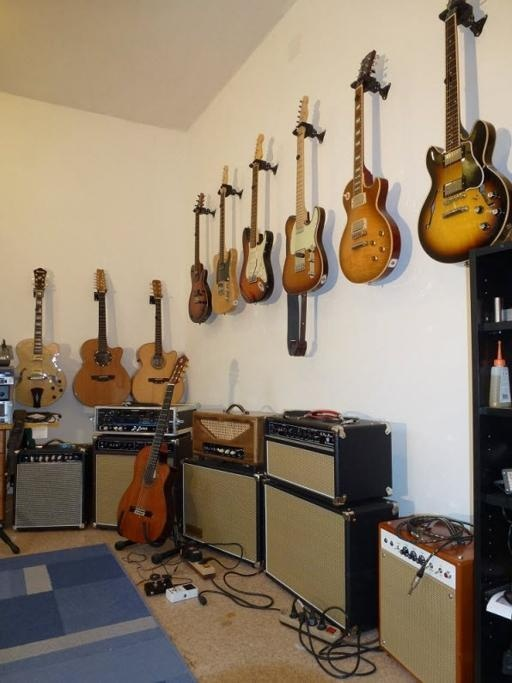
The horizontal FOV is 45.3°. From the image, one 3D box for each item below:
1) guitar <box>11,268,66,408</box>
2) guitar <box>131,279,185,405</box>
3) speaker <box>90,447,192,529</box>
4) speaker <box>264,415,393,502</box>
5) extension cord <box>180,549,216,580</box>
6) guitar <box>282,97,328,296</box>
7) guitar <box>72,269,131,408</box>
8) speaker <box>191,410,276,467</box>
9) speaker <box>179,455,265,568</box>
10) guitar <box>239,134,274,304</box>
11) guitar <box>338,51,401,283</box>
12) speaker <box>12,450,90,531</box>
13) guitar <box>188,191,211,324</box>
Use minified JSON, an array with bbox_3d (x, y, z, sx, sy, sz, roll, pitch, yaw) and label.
[{"bbox_3d":[-1.413,-0.038,3.990,0.317,0.994,0.129,0,25,-22],"label":"guitar"},{"bbox_3d":[-0.673,-0.015,4.238,0.323,0.992,0.131,1,26,-6],"label":"guitar"},{"bbox_3d":[-0.591,0.764,3.250,0.390,0.506,0.152,-1,-3,26],"label":"speaker"},{"bbox_3d":[0.253,0.445,2.507,0.267,0.360,0.491,-1,0,-35],"label":"speaker"},{"bbox_3d":[-0.271,1.047,2.885,0.063,0.096,0.217,-1,-9,-18],"label":"extension cord"},{"bbox_3d":[0.258,-0.649,2.920,0.195,0.829,0.303,-1,1,-21],"label":"guitar"},{"bbox_3d":[-1.027,-0.034,4.114,0.350,1.052,0.132,-2,32,-16],"label":"guitar"},{"bbox_3d":[-0.134,0.456,3.088,0.367,0.286,0.153,2,4,28],"label":"speaker"},{"bbox_3d":[-0.134,0.786,3.124,0.482,0.519,0.316,7,18,25],"label":"speaker"},{"bbox_3d":[0.019,-0.700,3.413,0.196,0.963,0.393,-1,1,-17],"label":"guitar"},{"bbox_3d":[0.471,-0.723,2.494,0.176,0.955,0.272,-1,1,-22],"label":"guitar"},{"bbox_3d":[-1.236,0.981,3.634,0.430,0.439,0.515,0,47,-20],"label":"speaker"},{"bbox_3d":[-0.375,-0.582,4.213,0.165,0.909,0.486,-1,1,-17],"label":"guitar"}]
